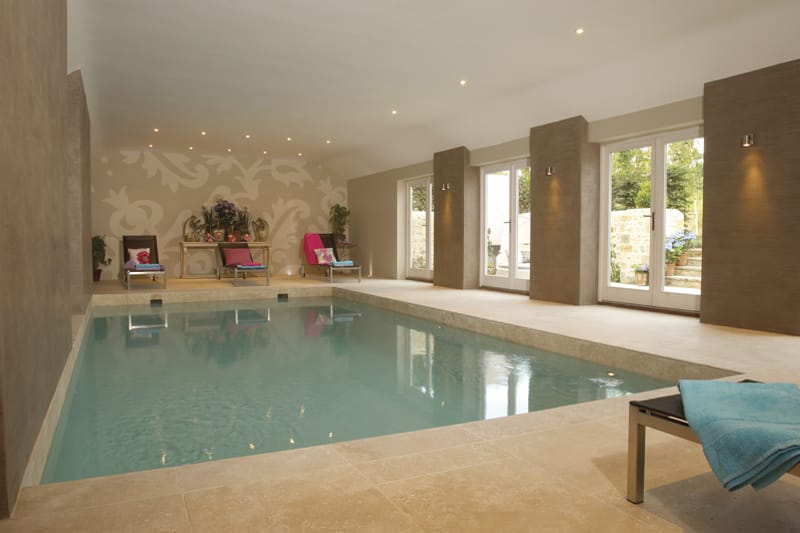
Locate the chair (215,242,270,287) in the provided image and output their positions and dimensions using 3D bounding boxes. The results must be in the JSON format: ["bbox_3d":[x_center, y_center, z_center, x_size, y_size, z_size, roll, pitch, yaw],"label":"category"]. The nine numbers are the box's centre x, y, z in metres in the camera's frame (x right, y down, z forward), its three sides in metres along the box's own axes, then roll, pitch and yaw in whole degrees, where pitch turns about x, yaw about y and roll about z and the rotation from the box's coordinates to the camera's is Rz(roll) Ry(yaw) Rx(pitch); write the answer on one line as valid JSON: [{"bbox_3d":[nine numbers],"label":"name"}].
[{"bbox_3d":[-3.433,-0.090,11.972,0.960,1.059,1.590,-2,3,-30],"label":"chair"}]

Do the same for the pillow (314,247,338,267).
[{"bbox_3d":[-1.780,-0.240,12.587,0.483,0.386,0.785,-2,2,-8],"label":"pillow"}]

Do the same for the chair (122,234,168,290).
[{"bbox_3d":[-5.356,-0.117,10.967,0.988,1.104,1.641,-1,6,-27],"label":"chair"}]

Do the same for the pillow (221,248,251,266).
[{"bbox_3d":[-3.608,-0.210,11.714,0.622,0.361,0.458,-2,2,-22],"label":"pillow"}]

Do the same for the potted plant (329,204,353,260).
[{"bbox_3d":[-1.516,-1.063,14.221,0.602,1.095,0.661,-7,8,-39],"label":"potted plant"}]

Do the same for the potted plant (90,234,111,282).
[{"bbox_3d":[-6.659,-0.181,11.804,0.360,1.024,0.666,-2,2,-23],"label":"potted plant"}]

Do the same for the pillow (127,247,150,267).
[{"bbox_3d":[-5.462,-0.190,11.061,0.337,0.321,0.178,-10,-5,-16],"label":"pillow"}]

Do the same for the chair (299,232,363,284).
[{"bbox_3d":[-1.678,-0.179,12.639,0.883,0.918,1.517,-4,10,-40],"label":"chair"}]
